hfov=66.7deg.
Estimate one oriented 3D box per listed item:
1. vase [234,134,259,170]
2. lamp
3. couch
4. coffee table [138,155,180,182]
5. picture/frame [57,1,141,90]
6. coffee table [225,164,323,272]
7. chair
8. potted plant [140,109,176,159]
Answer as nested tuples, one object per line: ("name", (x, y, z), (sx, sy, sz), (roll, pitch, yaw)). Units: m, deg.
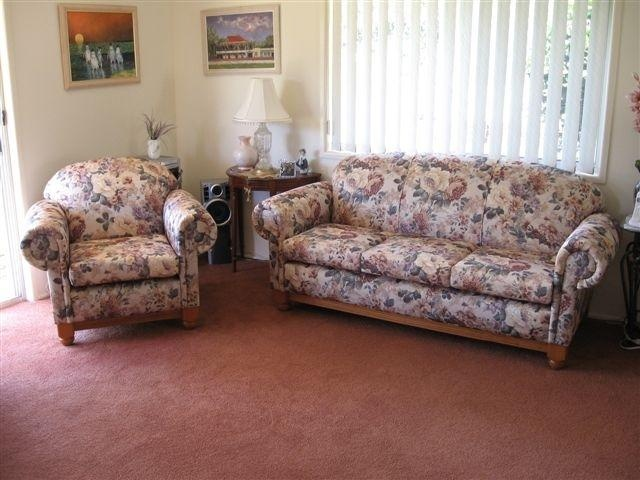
("vase", (-0.651, -0.782, 4.303), (0.224, 0.282, 0.210), (1, 15, 2))
("lamp", (-0.502, -1.006, 4.251), (0.551, 0.790, 0.553), (9, 21, 23))
("couch", (0.791, -0.004, 3.459), (2.283, 1.040, 1.003), (9, 22, 29))
("coffee table", (-1.278, -0.565, 3.861), (0.323, 0.311, 0.176), (-4, 7, -43))
("picture/frame", (-1.801, -1.582, 3.913), (0.034, 0.595, 0.830), (8, 15, 31))
("coffee table", (-0.555, -0.228, 4.571), (0.932, 1.065, 0.922), (-4, 13, -25))
("chair", (-1.368, 0.005, 3.447), (1.133, 1.089, 0.980), (-7, 18, -20))
("potted plant", (-1.480, -0.894, 4.281), (0.335, 0.362, 0.326), (0, 7, -26))
